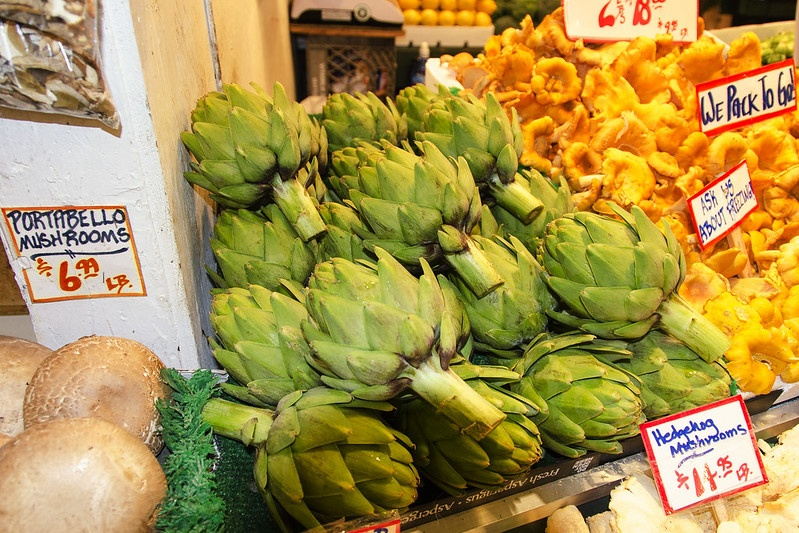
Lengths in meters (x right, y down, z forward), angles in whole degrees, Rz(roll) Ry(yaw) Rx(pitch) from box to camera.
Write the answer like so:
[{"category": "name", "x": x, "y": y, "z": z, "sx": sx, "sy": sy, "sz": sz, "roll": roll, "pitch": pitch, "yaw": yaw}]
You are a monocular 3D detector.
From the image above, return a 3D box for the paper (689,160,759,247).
[{"category": "paper", "x": 1.210, "y": -0.230, "z": 2.082, "sx": 0.333, "sy": 0.211, "sz": 0.015, "roll": -31, "pitch": 16, "yaw": -18}]

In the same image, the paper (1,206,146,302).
[{"category": "paper", "x": -0.963, "y": -0.047, "z": 1.673, "sx": 0.293, "sy": 0.250, "sz": 0.024, "roll": -2, "pitch": 24, "yaw": -1}]
